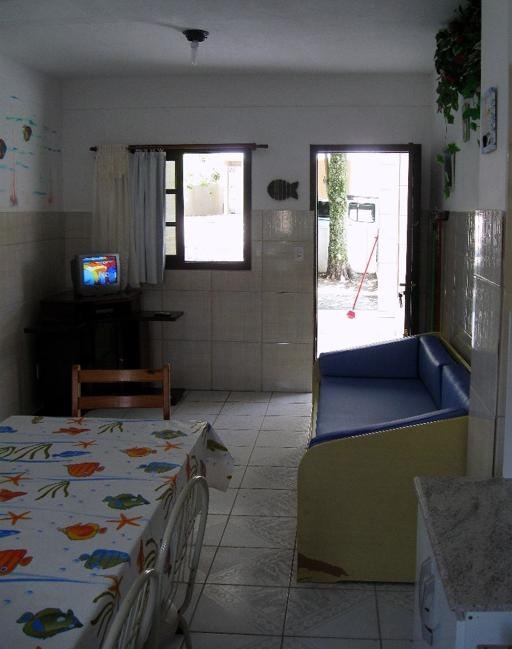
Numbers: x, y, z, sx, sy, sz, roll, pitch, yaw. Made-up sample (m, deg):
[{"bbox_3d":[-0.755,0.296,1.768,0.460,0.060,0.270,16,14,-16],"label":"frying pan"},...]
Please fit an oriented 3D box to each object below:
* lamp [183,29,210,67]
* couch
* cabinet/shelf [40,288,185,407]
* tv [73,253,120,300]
[{"bbox_3d":[-0.423,-1.995,3.727,0.207,0.282,0.226,1,2,5],"label":"lamp"},{"bbox_3d":[0.779,0.631,3.215,0.882,0.866,1.904,-1,10,10],"label":"couch"},{"bbox_3d":[-1.445,0.310,4.894,0.931,1.054,1.416,2,6,12],"label":"cabinet/shelf"},{"bbox_3d":[-1.493,-0.474,4.858,0.312,0.524,0.544,5,8,41],"label":"tv"}]
